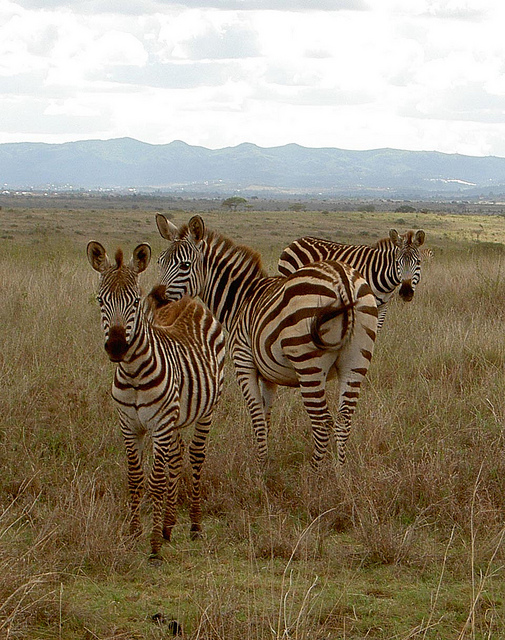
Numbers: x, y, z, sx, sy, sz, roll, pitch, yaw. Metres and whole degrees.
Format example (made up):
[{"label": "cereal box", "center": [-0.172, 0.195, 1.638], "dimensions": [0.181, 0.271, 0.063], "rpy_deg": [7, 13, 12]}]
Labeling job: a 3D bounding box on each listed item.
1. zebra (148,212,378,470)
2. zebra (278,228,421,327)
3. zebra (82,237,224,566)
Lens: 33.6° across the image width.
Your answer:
[{"label": "zebra", "center": [0.073, 0.110, 6.521], "dimensions": [1.907, 2.053, 0.640], "rpy_deg": [-2, 6, 42]}, {"label": "zebra", "center": [1.214, -0.388, 10.102], "dimensions": [0.506, 1.738, 2.052], "rpy_deg": [-7, 14, -37]}, {"label": "zebra", "center": [-0.606, 0.538, 5.418], "dimensions": [0.532, 1.987, 2.140], "rpy_deg": [2, -3, 9]}]
